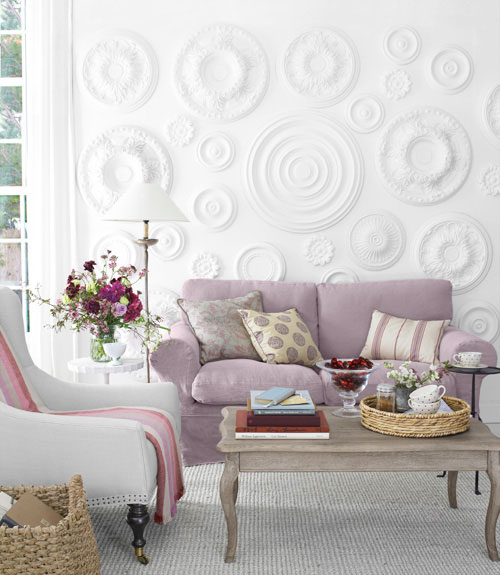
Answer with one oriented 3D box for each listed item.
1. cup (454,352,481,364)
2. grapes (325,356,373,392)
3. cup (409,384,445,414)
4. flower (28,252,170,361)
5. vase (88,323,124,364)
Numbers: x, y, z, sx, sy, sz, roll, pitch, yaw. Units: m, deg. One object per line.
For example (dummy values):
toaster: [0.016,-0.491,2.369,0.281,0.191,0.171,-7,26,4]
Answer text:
cup: [1.028,0.348,2.877,0.116,0.049,0.094,-6,-7,34]
grapes: [0.373,0.326,2.345,0.176,0.095,0.150,1,-6,-13]
cup: [0.649,0.399,2.160,0.132,0.076,0.099,-2,0,-5]
flower: [-0.715,0.111,2.955,0.571,0.380,0.391,-10,7,-9]
vase: [-0.661,0.265,2.900,0.168,0.169,0.172,1,-6,-5]
